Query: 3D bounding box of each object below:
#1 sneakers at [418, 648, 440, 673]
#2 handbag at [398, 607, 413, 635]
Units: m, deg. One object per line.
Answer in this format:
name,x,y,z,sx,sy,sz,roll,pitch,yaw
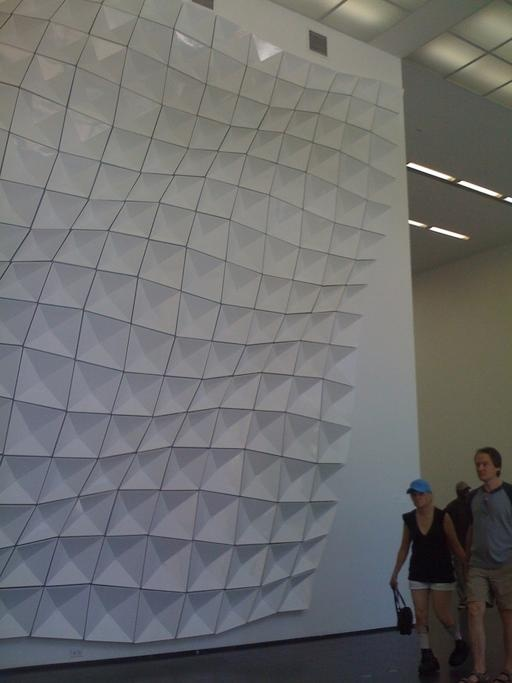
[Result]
sneakers,1.857,3.359,6.884,0.266,0.217,0.194,-1,-15,-5
handbag,1.605,2.961,6.942,0.154,0.270,0.232,-5,-15,11
